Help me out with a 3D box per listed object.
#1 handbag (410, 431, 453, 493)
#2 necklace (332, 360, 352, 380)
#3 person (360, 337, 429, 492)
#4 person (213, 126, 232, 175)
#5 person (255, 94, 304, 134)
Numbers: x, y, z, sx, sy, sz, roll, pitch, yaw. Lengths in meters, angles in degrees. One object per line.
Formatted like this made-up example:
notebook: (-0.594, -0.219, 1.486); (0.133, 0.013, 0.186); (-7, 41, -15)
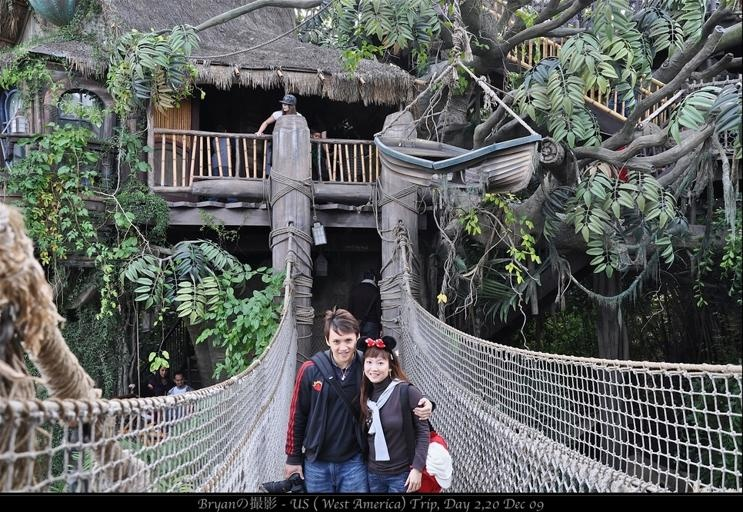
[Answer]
handbag: (0.426, 1.430, 4.545); (0.137, 0.362, 0.279); (6, -1, -18)
necklace: (-0.219, 0.826, 4.752); (0.089, 0.132, 0.048); (1, -8, -2)
person: (0.165, 1.125, 4.650); (0.509, 1.084, 0.243); (2, 3, 36)
person: (-2.093, -1.406, 9.132); (0.263, 0.658, 0.868); (0, 3, -13)
person: (-1.287, -1.920, 8.830); (0.520, 0.627, 0.883); (0, 3, -11)
